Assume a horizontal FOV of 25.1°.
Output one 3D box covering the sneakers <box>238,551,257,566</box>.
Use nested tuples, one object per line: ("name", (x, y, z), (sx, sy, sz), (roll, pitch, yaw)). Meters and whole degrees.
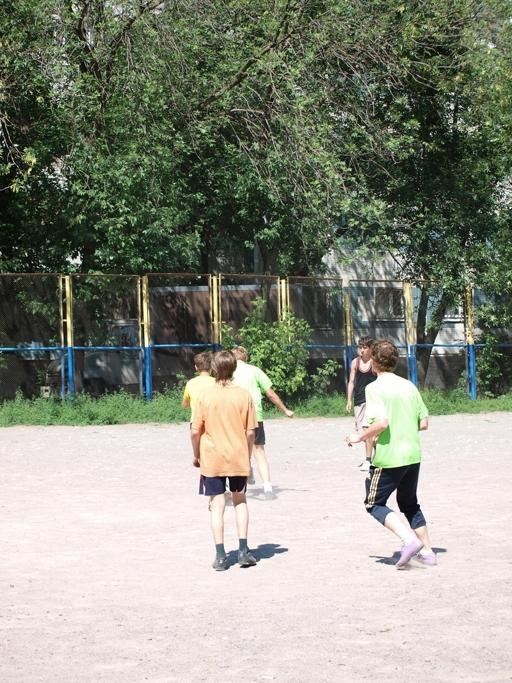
("sneakers", (-0.065, 1.490, 7.994), (0.060, 0.086, 0.185), (0, 1, 11))

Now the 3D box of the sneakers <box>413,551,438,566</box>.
("sneakers", (1.166, 1.460, 7.907), (0.063, 0.081, 0.180), (-14, 11, -13))

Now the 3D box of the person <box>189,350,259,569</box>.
("person", (-0.219, 0.805, 8.109), (0.466, 1.290, 0.495), (-4, -1, -7))

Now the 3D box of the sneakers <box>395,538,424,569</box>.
("sneakers", (1.058, 1.415, 7.823), (0.183, 0.191, 0.280), (-5, -2, 25))

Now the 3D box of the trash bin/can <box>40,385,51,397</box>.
("trash bin/can", (-3.970, 0.896, 21.569), (0.210, 0.217, 0.220), (2, 5, 5))

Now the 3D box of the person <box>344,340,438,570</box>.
("person", (0.968, 0.753, 7.879), (0.483, 1.408, 0.443), (-4, -1, -1))
